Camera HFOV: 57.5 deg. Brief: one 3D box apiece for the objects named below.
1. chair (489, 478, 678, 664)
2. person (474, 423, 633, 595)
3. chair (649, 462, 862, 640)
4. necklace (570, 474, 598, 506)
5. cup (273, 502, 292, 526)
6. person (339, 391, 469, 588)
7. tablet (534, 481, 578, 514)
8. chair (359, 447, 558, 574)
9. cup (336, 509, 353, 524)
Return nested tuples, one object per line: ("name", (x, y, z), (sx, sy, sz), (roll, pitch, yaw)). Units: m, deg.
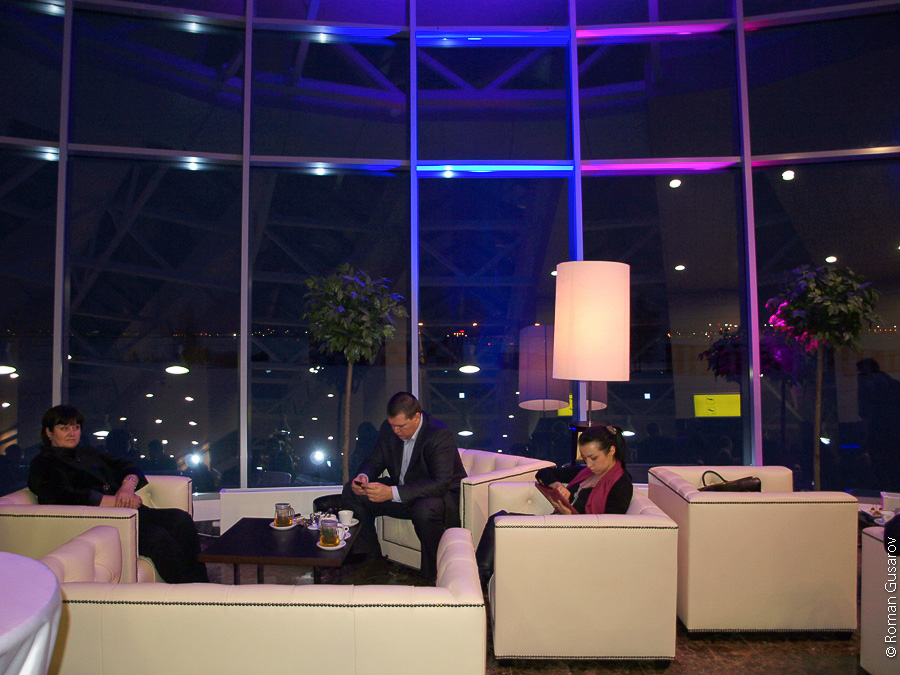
("chair", (0.786, 1.422, 4.871), (0.851, 0.710, 0.928), (0, -5, 3))
("person", (0.672, 1.252, 5.361), (1.033, 1.311, 0.720), (1, 2, -12))
("chair", (1.987, 1.220, 5.508), (0.898, 0.802, 1.280), (-2, 0, -2))
("necklace", (0.877, 1.007, 5.359), (0.111, 0.210, 0.160), (20, -4, -19))
("cup", (-1.132, 1.238, 5.686), (0.173, 0.180, 0.106), (4, -8, -39))
("person", (-0.280, 1.137, 6.400), (0.906, 1.340, 0.937), (-5, 9, -38))
("tablet", (0.697, 1.068, 5.356), (0.045, 0.178, 0.186), (-35, -5, -11))
("chair", (0.180, 1.254, 6.289), (1.160, 1.019, 0.871), (-19, -23, 39))
("cup", (-0.717, 1.233, 5.627), (0.075, 0.064, 0.082), (-4, -13, -1))
